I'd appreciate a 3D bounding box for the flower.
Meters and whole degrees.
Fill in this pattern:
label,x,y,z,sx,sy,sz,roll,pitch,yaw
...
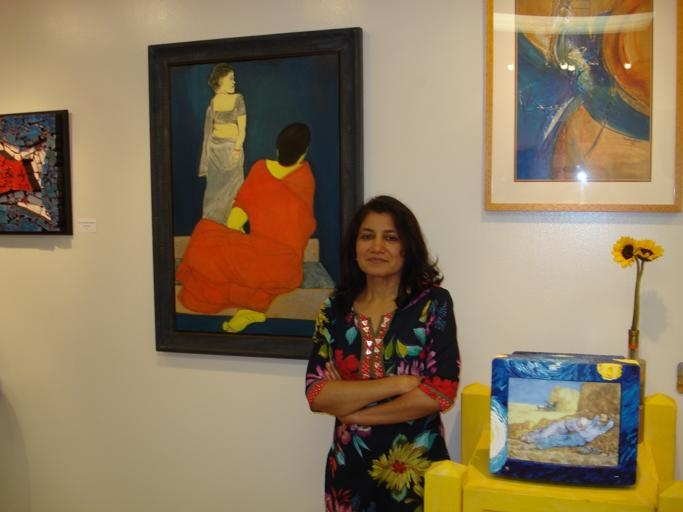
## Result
label,x,y,z,sx,sy,sz,roll,pitch,yaw
flower,1.259,0.108,2.785,0.193,0.390,0.329,0,0,24

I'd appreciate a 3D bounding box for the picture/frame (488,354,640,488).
label,x,y,z,sx,sy,sz,roll,pitch,yaw
picture/frame,0.725,0.464,2.350,0.626,0.600,0.363,1,-3,11
